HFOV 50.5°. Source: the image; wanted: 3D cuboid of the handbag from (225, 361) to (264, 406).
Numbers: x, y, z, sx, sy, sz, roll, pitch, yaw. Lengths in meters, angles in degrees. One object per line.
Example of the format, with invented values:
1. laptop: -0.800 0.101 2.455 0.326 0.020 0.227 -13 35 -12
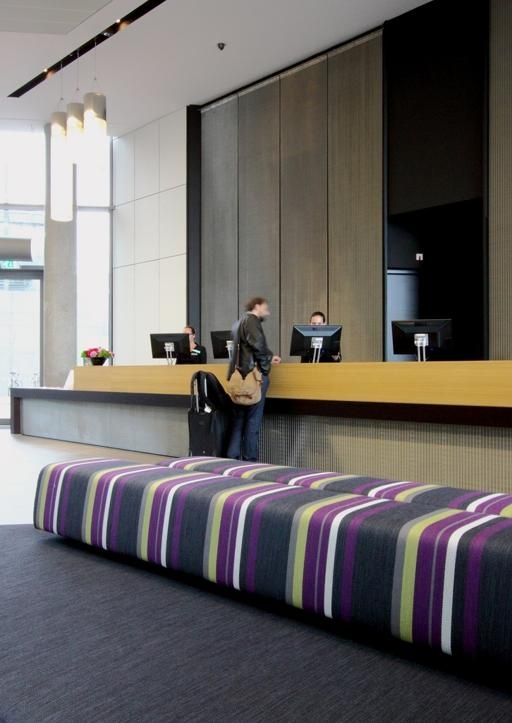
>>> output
1. handbag: -0.064 0.223 4.187 0.293 0.467 0.220 -4 -16 18

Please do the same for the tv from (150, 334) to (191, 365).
1. tv: -0.938 -0.143 6.095 0.504 0.339 0.246 -2 -2 26

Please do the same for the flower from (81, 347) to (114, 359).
1. flower: -2.104 -0.105 7.123 0.380 0.141 0.262 -2 -2 -2

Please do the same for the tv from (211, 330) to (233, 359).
1. tv: -0.327 -0.173 5.314 0.250 0.337 0.089 4 6 31

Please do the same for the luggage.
1. luggage: -0.359 0.414 4.339 0.323 0.691 0.408 0 -2 -21

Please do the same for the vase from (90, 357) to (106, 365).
1. vase: -2.027 -0.009 7.063 0.104 0.144 0.117 -1 -8 10

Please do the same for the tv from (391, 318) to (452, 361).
1. tv: 1.212 -0.169 3.961 0.287 0.390 0.108 3 12 24

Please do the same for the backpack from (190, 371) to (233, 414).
1. backpack: -0.368 0.237 4.314 0.228 0.435 0.338 0 1 29

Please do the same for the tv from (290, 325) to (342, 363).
1. tv: 0.508 -0.156 4.557 0.265 0.343 0.125 1 41 -2
